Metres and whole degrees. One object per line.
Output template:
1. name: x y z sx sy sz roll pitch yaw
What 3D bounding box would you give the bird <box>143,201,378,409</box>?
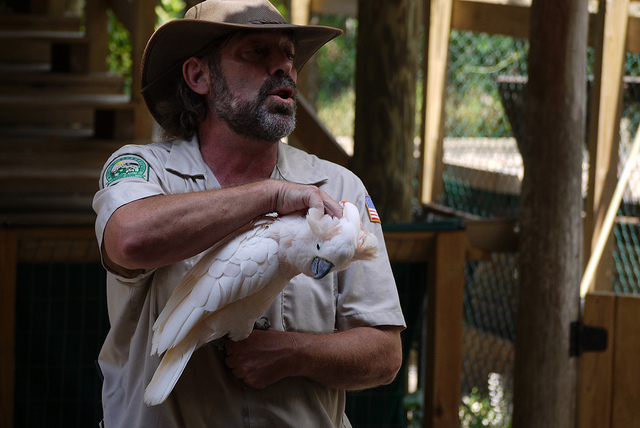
1. bird: -0.360 0.386 7.099 1.204 0.967 0.914 -16 -4 -6
